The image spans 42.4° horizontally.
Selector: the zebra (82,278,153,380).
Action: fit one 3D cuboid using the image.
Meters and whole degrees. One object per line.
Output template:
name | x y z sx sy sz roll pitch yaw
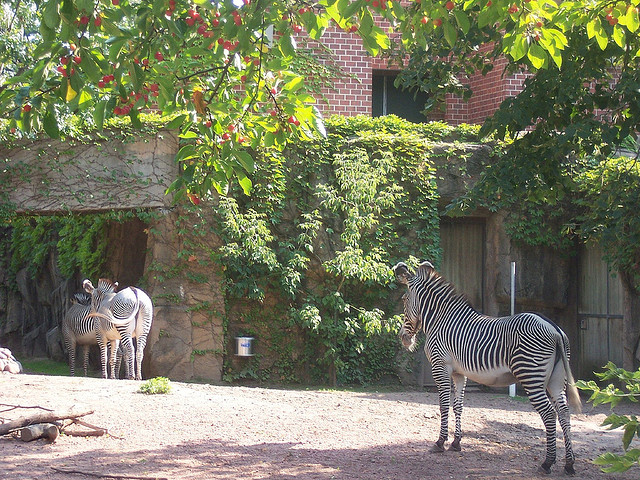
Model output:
zebra | -3.335 1.501 13.584 1.021 1.600 0.554 5 4 29
